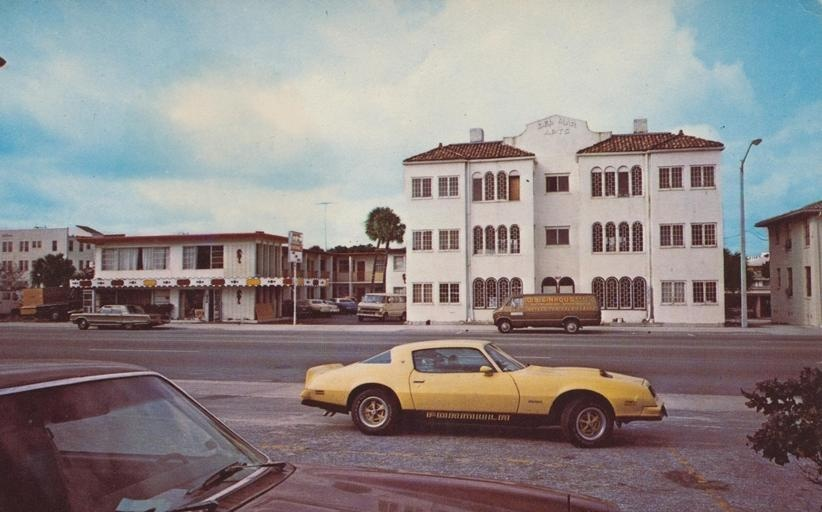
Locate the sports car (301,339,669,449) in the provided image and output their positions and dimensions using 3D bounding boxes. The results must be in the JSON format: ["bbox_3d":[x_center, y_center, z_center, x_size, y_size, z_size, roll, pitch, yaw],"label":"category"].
[{"bbox_3d":[1.467,2.769,14.243,6.011,1.773,2.529,0,0,2],"label":"sports car"}]

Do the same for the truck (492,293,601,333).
[{"bbox_3d":[7.040,2.784,36.265,5.264,1.731,1.975,-1,-7,13],"label":"truck"}]

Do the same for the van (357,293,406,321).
[{"bbox_3d":[-1.731,3.591,50.951,1.890,1.262,2.937,-5,-10,26],"label":"van"}]

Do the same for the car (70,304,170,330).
[{"bbox_3d":[-16.429,3.423,40.293,4.236,1.105,1.956,2,-4,1],"label":"car"}]
